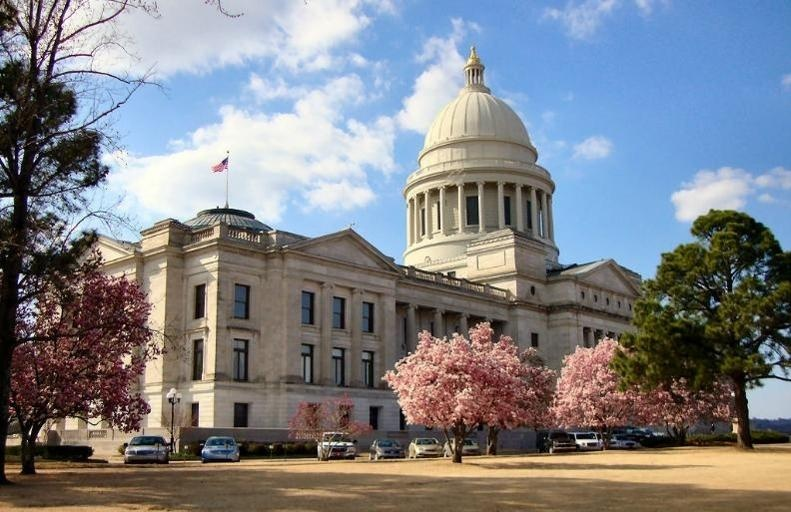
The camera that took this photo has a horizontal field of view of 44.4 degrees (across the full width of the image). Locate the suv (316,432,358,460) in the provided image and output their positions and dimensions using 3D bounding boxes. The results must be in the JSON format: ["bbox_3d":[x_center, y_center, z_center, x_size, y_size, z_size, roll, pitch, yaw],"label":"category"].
[{"bbox_3d":[-4.027,12.637,64.200,1.595,1.168,2.608,2,-24,-6],"label":"suv"}]

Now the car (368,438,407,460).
[{"bbox_3d":[-0.588,12.733,63.383,2.123,1.491,2.133,0,-18,-5],"label":"car"}]

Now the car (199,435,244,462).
[{"bbox_3d":[-10.768,11.927,59.360,2.178,1.620,1.305,3,-18,-14],"label":"car"}]

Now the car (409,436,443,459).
[{"bbox_3d":[2.018,12.804,64.408,2.057,1.585,2.228,2,-18,-10],"label":"car"}]

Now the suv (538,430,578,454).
[{"bbox_3d":[11.949,13.975,71.744,1.498,1.069,2.408,1,-27,-7],"label":"suv"}]

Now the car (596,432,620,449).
[{"bbox_3d":[15.392,13.666,71.604,1.364,1.112,2.007,10,-19,-40],"label":"car"}]

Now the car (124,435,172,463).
[{"bbox_3d":[-14.924,11.634,58.066,2.403,1.753,1.785,2,-18,-11],"label":"car"}]
